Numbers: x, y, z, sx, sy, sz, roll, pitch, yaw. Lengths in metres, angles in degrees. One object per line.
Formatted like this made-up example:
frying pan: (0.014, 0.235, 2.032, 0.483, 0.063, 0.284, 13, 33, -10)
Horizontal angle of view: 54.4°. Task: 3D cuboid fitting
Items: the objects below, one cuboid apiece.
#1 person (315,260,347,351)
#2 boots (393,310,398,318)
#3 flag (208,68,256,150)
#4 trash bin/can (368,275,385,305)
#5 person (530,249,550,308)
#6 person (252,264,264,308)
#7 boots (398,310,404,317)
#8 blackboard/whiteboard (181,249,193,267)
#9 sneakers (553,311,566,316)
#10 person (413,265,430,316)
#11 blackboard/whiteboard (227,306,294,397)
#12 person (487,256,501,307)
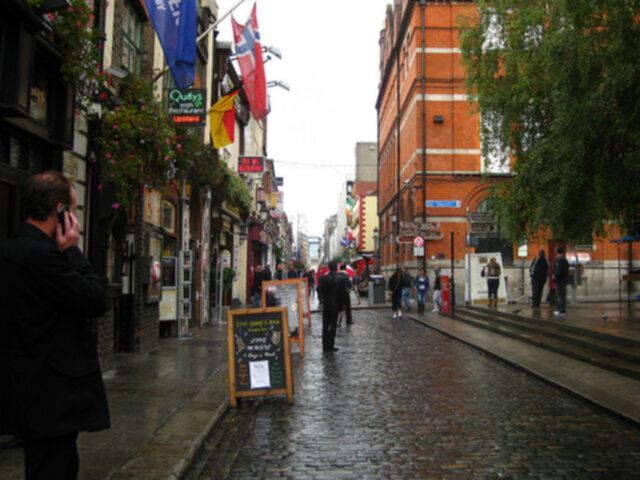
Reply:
person: (0.289, 1.485, 14.160, 0.595, 2.047, 1.174, -1, -6, 0)
boots: (2.749, 2.782, 23.077, 0.126, 0.314, 0.272, -3, -10, 21)
flag: (-2.645, -3.402, 17.240, 0.814, 1.829, 1.752, -1, -6, -10)
trash bin/can: (2.741, 2.469, 30.605, 0.783, 1.433, 1.033, -2, -6, 4)
person: (7.360, 1.284, 20.803, 0.563, 1.956, 0.967, -3, -6, 19)
person: (-2.135, 1.596, 21.227, 0.353, 1.408, 1.266, -1, -6, -5)
boots: (3.029, 2.789, 23.286, 0.141, 0.323, 0.318, 0, -22, -4)
blackboard/whiteboard: (-3.483, 0.491, 16.196, 0.235, 0.520, 1.175, -1, -7, -8)
sneakers: (6.920, 2.127, 17.958, 0.244, 0.133, 0.098, 9, -4, 1)
person: (4.001, 2.010, 24.415, 0.469, 1.830, 1.313, -2, -6, 9)
blackboard/whiteboard: (-0.906, 1.794, 9.419, 0.929, 1.571, 0.831, -5, -25, -3)
person: (6.027, 1.448, 21.479, 0.490, 1.747, 1.605, -3, -6, 16)
